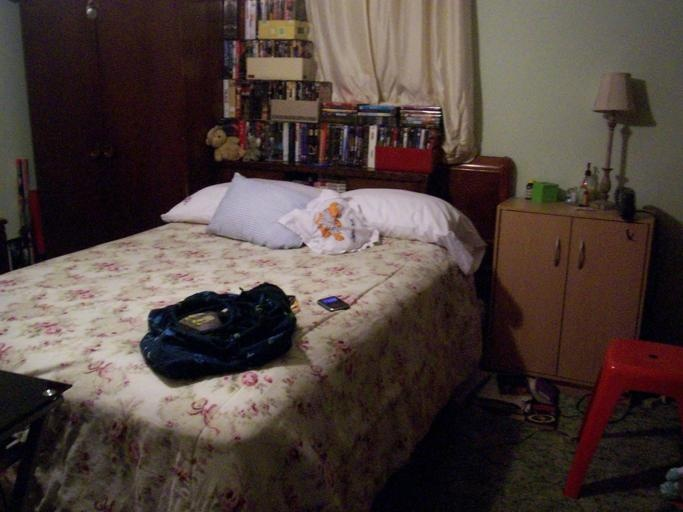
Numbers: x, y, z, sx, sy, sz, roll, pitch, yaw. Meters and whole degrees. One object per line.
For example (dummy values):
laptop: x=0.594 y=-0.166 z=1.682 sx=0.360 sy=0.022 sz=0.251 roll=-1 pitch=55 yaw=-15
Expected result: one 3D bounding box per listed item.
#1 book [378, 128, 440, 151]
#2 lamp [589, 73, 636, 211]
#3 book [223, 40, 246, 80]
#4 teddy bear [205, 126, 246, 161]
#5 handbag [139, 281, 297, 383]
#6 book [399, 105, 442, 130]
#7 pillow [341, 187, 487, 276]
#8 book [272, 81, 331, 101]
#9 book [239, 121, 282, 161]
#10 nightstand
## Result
book: x=0.392 y=-0.687 z=3.126 sx=0.355 sy=0.113 sz=0.141 roll=2 pitch=17 yaw=3
lamp: x=1.436 y=-0.627 z=2.875 sx=0.192 sy=0.674 sz=0.325 roll=10 pitch=19 yaw=25
book: x=-0.684 y=-1.258 z=3.448 sx=0.148 sy=0.231 sz=0.044 roll=6 pitch=18 yaw=16
teddy bear: x=-0.707 y=-0.744 z=3.527 sx=0.258 sy=0.243 sz=0.186 roll=4 pitch=27 yaw=8
handbag: x=-0.386 y=0.247 z=1.755 sx=0.338 sy=0.095 sz=0.304 roll=-7 pitch=22 yaw=-27
book: x=0.459 y=-0.809 z=3.131 sx=0.230 sy=0.105 sz=0.136 roll=5 pitch=11 yaw=18
pillow: x=0.363 y=-0.151 z=2.869 sx=0.678 sy=0.192 sz=0.424 roll=25 pitch=28 yaw=3
book: x=-0.246 y=-1.022 z=3.344 sx=0.368 sy=0.116 sz=0.171 roll=-1 pitch=17 yaw=-7
book: x=-0.487 y=-0.732 z=3.460 sx=0.242 sy=0.270 sz=0.253 roll=5 pitch=10 yaw=-4
nightstand: x=1.256 y=0.187 z=3.021 sx=0.767 sy=0.954 sz=0.400 roll=5 pitch=14 yaw=18
